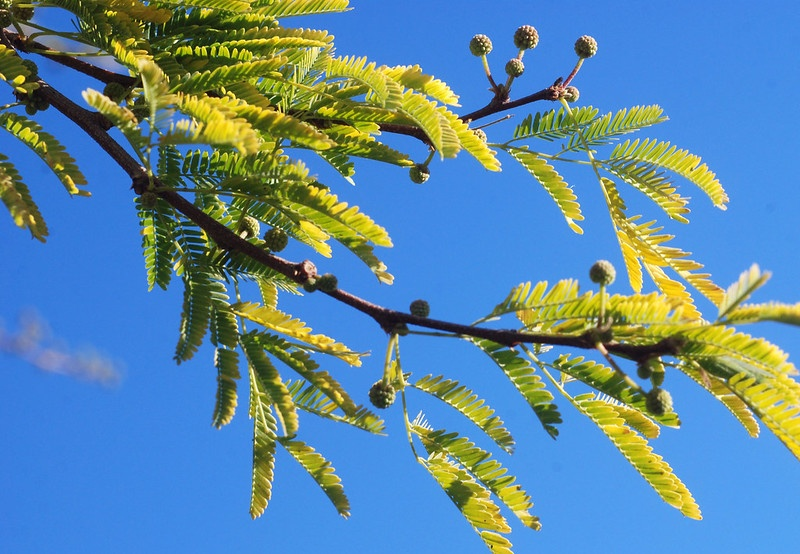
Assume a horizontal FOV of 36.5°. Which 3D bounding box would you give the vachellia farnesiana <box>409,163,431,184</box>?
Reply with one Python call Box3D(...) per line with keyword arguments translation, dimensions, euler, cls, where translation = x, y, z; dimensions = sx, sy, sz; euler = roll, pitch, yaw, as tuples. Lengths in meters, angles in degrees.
Box3D(translation=(0.150, -0.735, 8.327), dimensions=(0.108, 0.145, 0.196), euler=(-1, -53, -13), cls="vachellia farnesiana")
